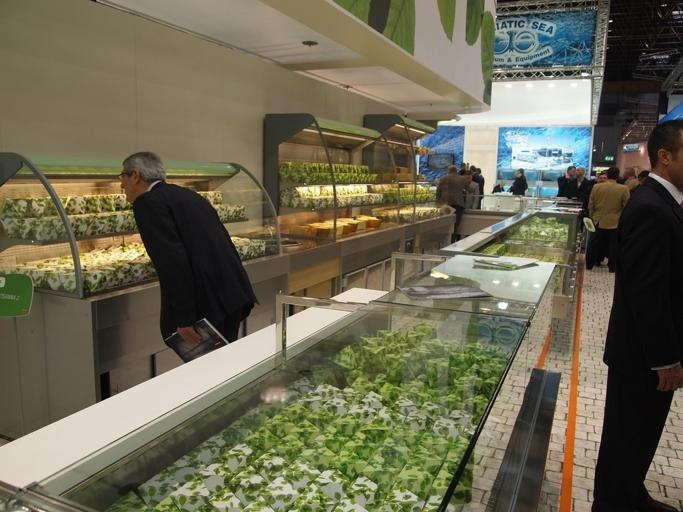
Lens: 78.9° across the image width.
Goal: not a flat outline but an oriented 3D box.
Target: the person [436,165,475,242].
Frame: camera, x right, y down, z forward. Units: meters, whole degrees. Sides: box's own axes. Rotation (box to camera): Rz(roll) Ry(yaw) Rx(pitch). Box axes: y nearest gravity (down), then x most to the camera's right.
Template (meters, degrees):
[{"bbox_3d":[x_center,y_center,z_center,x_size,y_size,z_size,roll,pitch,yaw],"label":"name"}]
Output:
[{"bbox_3d":[2.621,-1.211,9.930,0.779,1.737,0.569,5,7,15],"label":"person"}]

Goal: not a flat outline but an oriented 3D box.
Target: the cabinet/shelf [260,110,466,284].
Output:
[{"bbox_3d":[0.255,-1.079,6.402,1.183,2.536,4.669,14,16,29],"label":"cabinet/shelf"}]

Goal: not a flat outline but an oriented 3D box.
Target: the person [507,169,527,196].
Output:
[{"bbox_3d":[5.212,-2.170,12.134,0.432,0.714,1.484,11,15,20],"label":"person"}]

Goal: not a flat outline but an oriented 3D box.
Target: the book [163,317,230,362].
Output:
[{"bbox_3d":[-0.867,0.504,2.576,0.323,0.335,0.081,-29,10,19],"label":"book"}]

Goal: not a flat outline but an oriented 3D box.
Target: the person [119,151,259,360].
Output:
[{"bbox_3d":[-0.998,-0.031,2.610,0.824,1.154,0.430,10,14,16],"label":"person"}]
